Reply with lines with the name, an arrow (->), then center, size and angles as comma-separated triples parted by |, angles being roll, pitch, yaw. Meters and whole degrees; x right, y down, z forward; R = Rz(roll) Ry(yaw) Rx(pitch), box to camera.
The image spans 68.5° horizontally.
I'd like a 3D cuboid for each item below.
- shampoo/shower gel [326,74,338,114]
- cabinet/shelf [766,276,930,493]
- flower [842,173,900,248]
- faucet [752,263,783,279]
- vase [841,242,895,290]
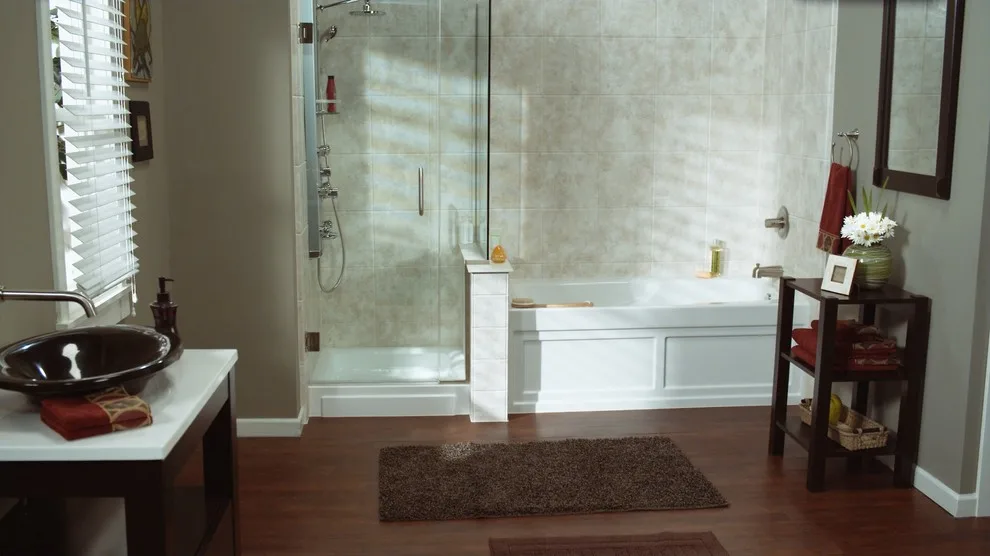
shampoo/shower gel -> -1.261, -1.393, 5.538 | 0.024, 0.279, 0.093 | 15, 21, 42
cabinet/shelf -> 2.343, 0.686, 4.901 | 0.829, 1.278, 0.711 | 0, 15, -2
flower -> 2.476, -0.376, 4.757 | 0.258, 0.333, 0.271 | -2, 16, -9
faucet -> 2.222, -0.049, 5.889 | 0.235, 0.089, 0.120 | 0, 11, 2
vase -> 2.427, -0.084, 4.835 | 0.364, 0.324, 0.363 | 7, 12, 28
